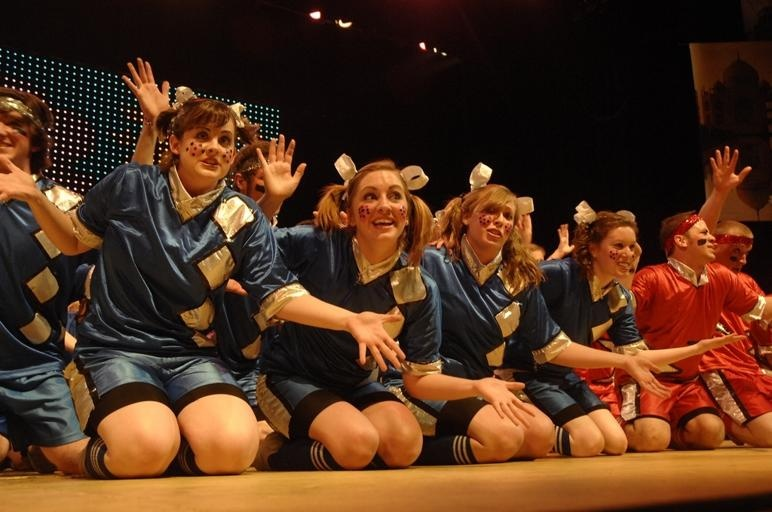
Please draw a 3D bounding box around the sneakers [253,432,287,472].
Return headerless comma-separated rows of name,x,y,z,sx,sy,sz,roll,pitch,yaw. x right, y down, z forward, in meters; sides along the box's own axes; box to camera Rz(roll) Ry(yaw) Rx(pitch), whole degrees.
sneakers,-0.464,0.776,2.423,0.119,0.141,0.156,1,-4,-15
